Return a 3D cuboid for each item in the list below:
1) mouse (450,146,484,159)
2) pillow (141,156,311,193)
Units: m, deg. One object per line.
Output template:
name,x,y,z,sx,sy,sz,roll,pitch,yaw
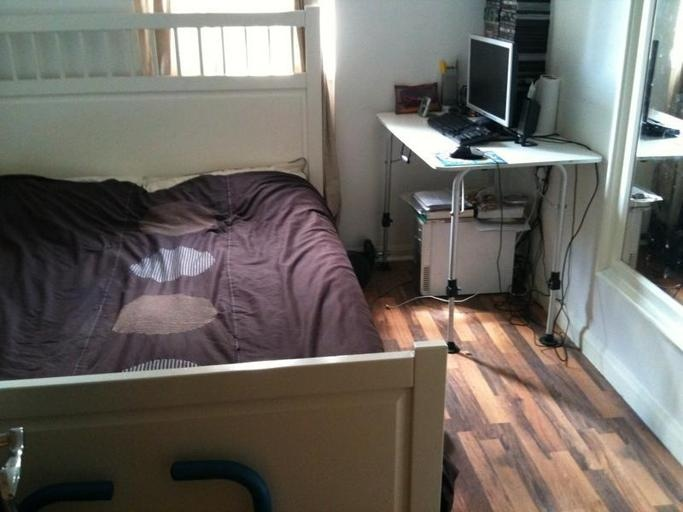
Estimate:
mouse,0.586,-0.480,2.579,0.115,0.045,0.073,1,26,-3
pillow,-0.683,-0.455,3.106,0.769,0.096,0.145,-7,56,0
